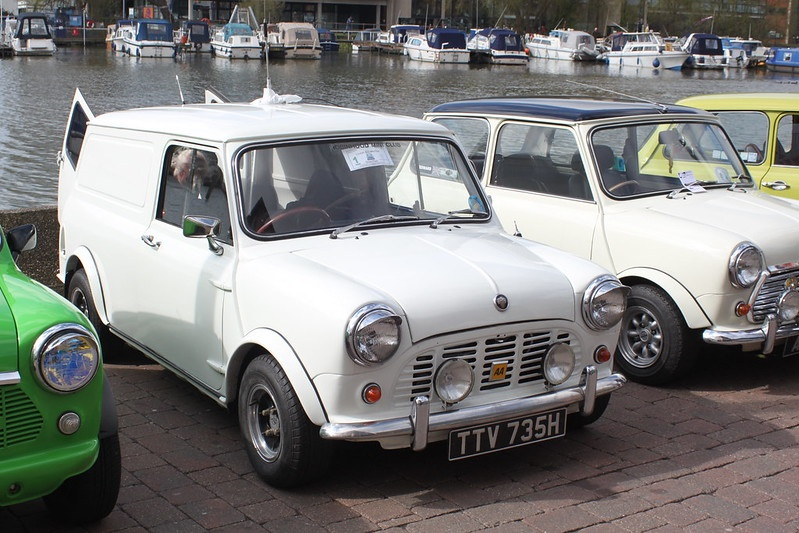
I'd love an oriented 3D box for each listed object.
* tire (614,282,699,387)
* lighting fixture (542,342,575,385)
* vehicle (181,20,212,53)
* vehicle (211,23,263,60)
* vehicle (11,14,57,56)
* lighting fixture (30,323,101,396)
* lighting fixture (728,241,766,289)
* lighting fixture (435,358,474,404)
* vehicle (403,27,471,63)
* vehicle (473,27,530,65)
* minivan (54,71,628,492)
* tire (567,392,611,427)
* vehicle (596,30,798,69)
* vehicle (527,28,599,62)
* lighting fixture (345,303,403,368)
[{"bbox_3d":[2.225,0.573,5.502,0.256,0.826,0.715,-7,-15,-38],"label":"tire"},{"bbox_3d":[1.032,0.630,4.213,0.282,0.290,0.085,-2,3,-41],"label":"lighting fixture"},{"bbox_3d":[-22.257,-25.021,69.571,2.143,3.209,5.356,3,19,7],"label":"vehicle"},{"bbox_3d":[-16.263,-22.692,64.294,3.344,3.365,5.465,-10,22,-29],"label":"vehicle"},{"bbox_3d":[-32.201,-20.244,55.726,3.073,3.514,1.796,-4,19,-15],"label":"vehicle"},{"bbox_3d":[-1.726,0.462,3.283,0.332,0.343,0.308,3,-2,39],"label":"lighting fixture"},{"bbox_3d":[2.866,-0.011,5.304,0.343,0.385,0.122,-7,9,-29],"label":"lighting fixture"},{"bbox_3d":[0.322,0.693,3.928,0.272,0.281,0.083,-4,5,-30],"label":"lighting fixture"},{"bbox_3d":[3.395,-23.712,69.347,3.886,2.661,7.286,-9,15,-30],"label":"vehicle"},{"bbox_3d":[10.339,-23.613,68.643,3.771,3.528,8.440,-6,20,-19],"label":"vehicle"},{"bbox_3d":[-0.838,-0.183,5.178,2.290,2.124,4.299,-8,15,-44],"label":"minivan"},{"bbox_3d":[1.427,1.023,4.900,0.258,0.268,0.264,19,-12,-23],"label":"tire"},{"bbox_3d":[27.848,-21.669,64.182,14.550,3.403,10.283,8,20,19],"label":"vehicle"},{"bbox_3d":[19.010,-25.693,74.697,3.543,3.521,10.079,-5,13,-22],"label":"vehicle"},{"bbox_3d":[-0.171,0.394,3.731,0.341,0.352,0.135,-4,5,-27],"label":"lighting fixture"}]
